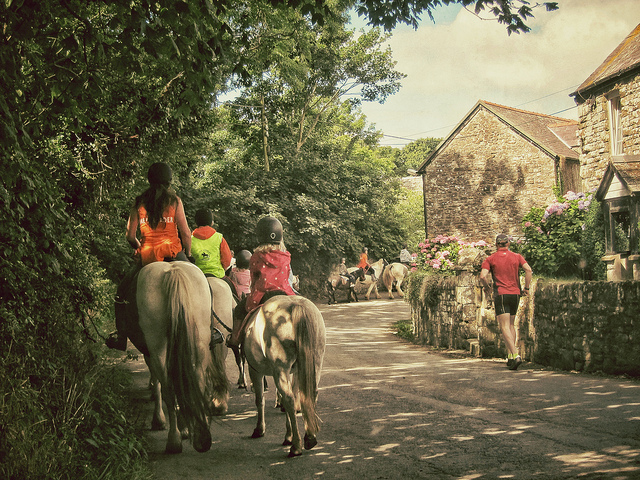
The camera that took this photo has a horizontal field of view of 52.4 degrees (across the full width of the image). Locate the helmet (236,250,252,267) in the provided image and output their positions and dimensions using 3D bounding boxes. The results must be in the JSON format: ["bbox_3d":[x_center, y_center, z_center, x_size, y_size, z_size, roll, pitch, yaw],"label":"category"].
[{"bbox_3d":[-1.359,0.315,11.552,0.290,0.378,0.362,5,1,8],"label":"helmet"}]

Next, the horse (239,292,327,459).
[{"bbox_3d":[-0.467,1.625,8.078,0.977,1.831,0.622,-3,1,43],"label":"horse"}]

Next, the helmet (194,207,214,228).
[{"bbox_3d":[-1.806,-0.398,10.168,0.230,0.319,0.313,9,30,-2],"label":"helmet"}]

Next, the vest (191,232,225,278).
[{"bbox_3d":[-1.719,0.220,9.800,0.640,0.784,0.450,-3,-5,11],"label":"vest"}]

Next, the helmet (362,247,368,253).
[{"bbox_3d":[2.422,0.523,35.763,0.273,0.137,0.336,-3,6,10],"label":"helmet"}]

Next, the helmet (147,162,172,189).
[{"bbox_3d":[-2.094,-0.853,8.569,0.276,0.353,0.343,4,9,-6],"label":"helmet"}]

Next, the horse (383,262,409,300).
[{"bbox_3d":[3.772,2.018,32.536,1.232,1.588,2.632,-3,0,9],"label":"horse"}]

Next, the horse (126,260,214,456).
[{"bbox_3d":[-1.849,1.427,8.199,1.239,2.383,0.745,-3,1,41],"label":"horse"}]

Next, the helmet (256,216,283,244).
[{"bbox_3d":[-0.682,-0.147,8.650,0.262,0.287,0.366,1,26,-4],"label":"helmet"}]

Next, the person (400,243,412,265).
[{"bbox_3d":[4.615,0.855,35.309,0.854,1.227,0.773,-6,8,-19],"label":"person"}]

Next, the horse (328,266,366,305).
[{"bbox_3d":[1.175,2.144,30.741,2.126,1.430,0.539,-4,3,-32],"label":"horse"}]
